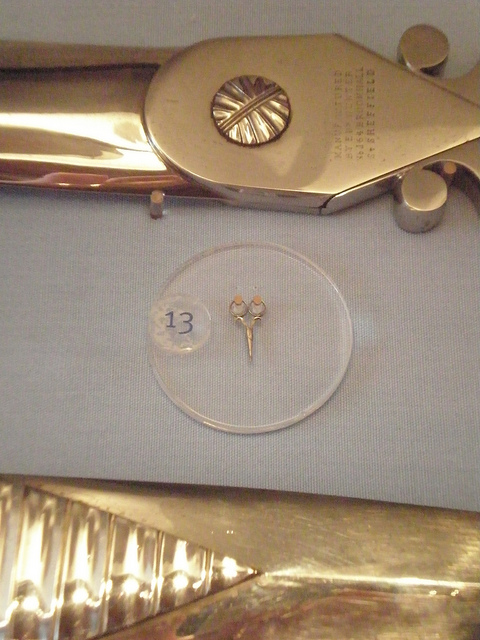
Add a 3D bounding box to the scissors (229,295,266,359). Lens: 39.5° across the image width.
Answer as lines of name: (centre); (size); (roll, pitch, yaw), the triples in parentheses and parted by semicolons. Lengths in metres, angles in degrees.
scissors: (0.020, 0.028, 1.838); (0.094, 0.156, 0.024); (2, -18, -5)
